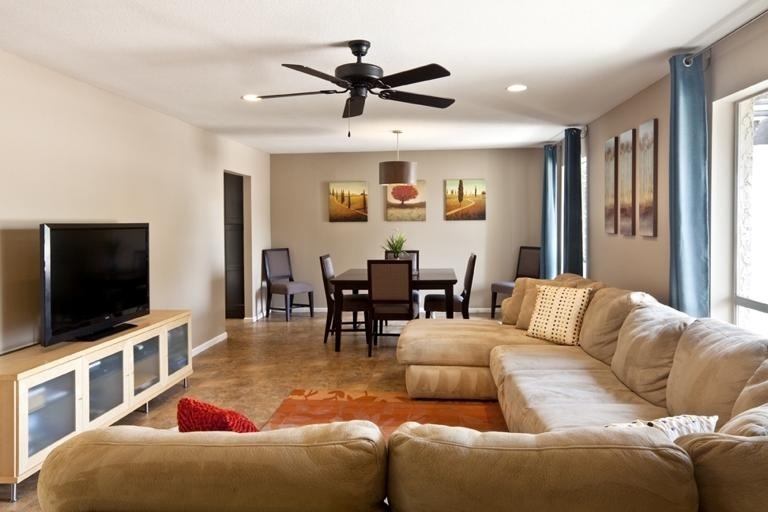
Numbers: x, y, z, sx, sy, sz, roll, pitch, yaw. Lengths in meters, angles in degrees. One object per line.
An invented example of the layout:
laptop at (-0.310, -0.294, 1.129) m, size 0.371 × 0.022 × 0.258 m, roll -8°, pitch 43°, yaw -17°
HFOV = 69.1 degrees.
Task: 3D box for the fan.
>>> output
fan at (-0.034, -1.335, 4.286) m, size 1.087 × 0.453 × 1.198 m, roll -1°, pitch 6°, yaw 3°

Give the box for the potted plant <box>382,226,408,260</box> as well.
potted plant at (0.133, -0.166, 7.174) m, size 0.410 × 0.431 × 0.407 m, roll 2°, pitch -5°, yaw 3°
